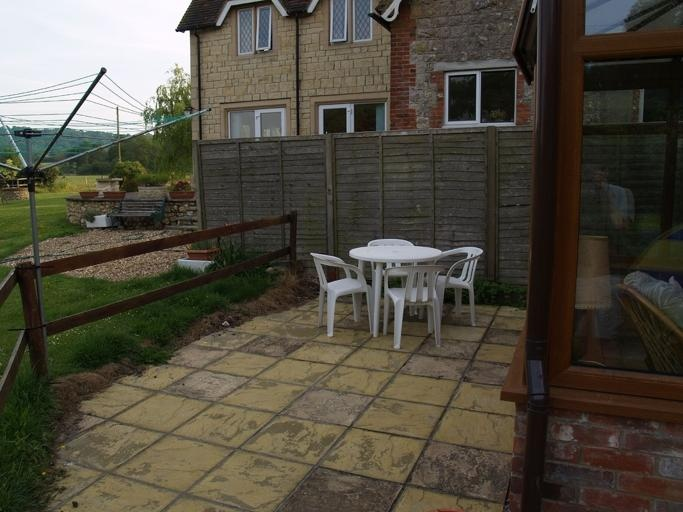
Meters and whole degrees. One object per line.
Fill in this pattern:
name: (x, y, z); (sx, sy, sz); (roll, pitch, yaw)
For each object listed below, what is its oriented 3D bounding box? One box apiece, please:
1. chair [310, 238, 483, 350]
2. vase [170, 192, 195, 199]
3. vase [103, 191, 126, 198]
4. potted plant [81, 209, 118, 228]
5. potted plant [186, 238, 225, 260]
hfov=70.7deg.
chair: (0.796, 0.446, 6.638); (1.750, 1.038, 1.998); (8, 14, 38)
vase: (-5.748, -2.179, 17.340); (0.993, 0.268, 0.228); (1, 11, 10)
vase: (-8.602, -2.303, 18.162); (0.688, 0.227, 0.480); (-2, 0, 12)
potted plant: (-8.833, -1.320, 17.537); (0.800, 0.513, 0.835); (-1, 5, -10)
potted plant: (-2.703, -0.120, 9.673); (0.583, 0.316, 0.635); (5, 12, 34)
